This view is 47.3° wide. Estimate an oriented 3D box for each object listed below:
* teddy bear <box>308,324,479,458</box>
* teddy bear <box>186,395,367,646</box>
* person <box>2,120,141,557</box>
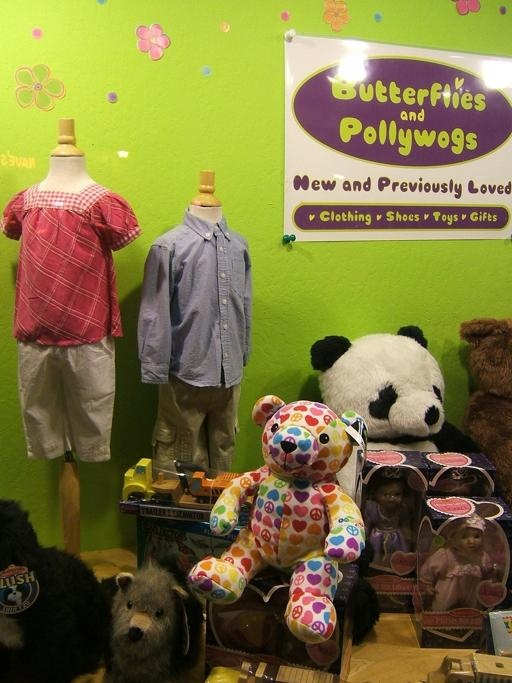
[{"bbox_3d":[0.447,0.130,2.106,0.538,0.565,0.423,-7,0,-33],"label":"teddy bear"},{"bbox_3d":[0.050,0.363,1.218,0.394,0.406,0.373,-1,13,-18],"label":"teddy bear"},{"bbox_3d":[-0.562,0.036,1.788,0.329,1.359,0.289,-6,15,-32],"label":"person"}]
